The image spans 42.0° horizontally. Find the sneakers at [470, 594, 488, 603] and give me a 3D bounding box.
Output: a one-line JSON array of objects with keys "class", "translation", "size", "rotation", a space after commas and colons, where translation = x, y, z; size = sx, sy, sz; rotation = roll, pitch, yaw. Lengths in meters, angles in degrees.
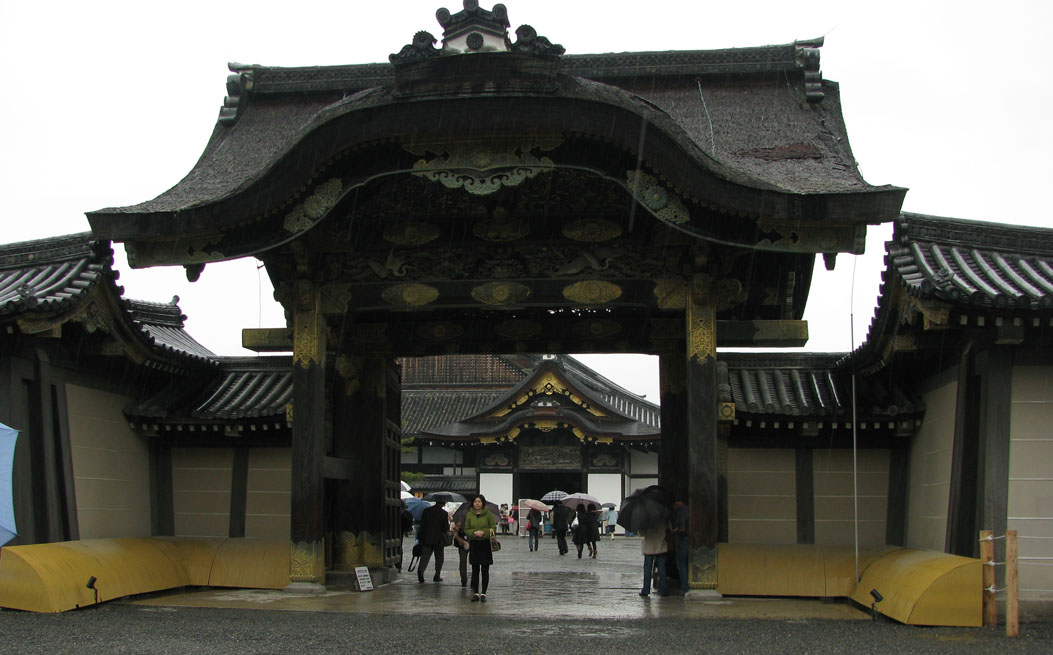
[{"class": "sneakers", "translation": [-0.782, 4.349, 22.041], "size": [0.291, 0.115, 0.102], "rotation": [2, -11, 3]}]

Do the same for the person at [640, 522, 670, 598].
[{"class": "person", "translation": [2.072, 3.871, 22.670], "size": [0.485, 1.151, 1.046], "rotation": [-1, -11, 5]}]

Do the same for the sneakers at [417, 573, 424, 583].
[{"class": "sneakers", "translation": [-1.914, 4.520, 24.693], "size": [0.128, 0.126, 0.120], "rotation": [-1, -3, 11]}]

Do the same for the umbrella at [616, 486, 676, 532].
[{"class": "umbrella", "translation": [1.916, 2.979, 22.545], "size": [0.903, 0.765, 0.753], "rotation": [-1, -11, 5]}]
